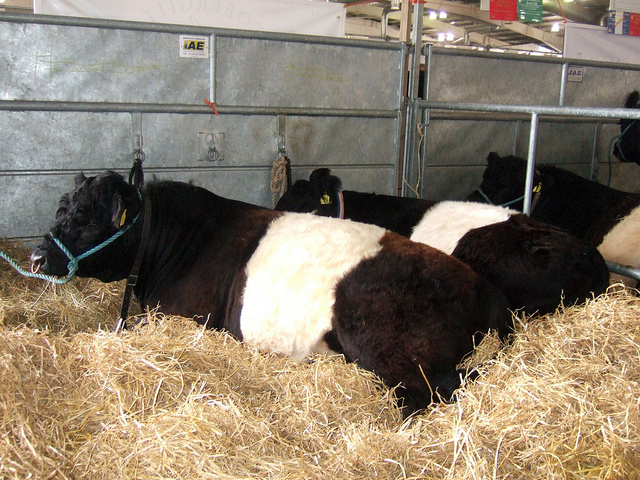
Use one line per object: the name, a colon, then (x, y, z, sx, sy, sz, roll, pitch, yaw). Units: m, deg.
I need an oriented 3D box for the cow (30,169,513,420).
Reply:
cow: (-0.339, 0.310, 2.826, 2.341, 1.049, 0.731, 8, -2, 13)

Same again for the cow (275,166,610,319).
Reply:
cow: (0.517, 0.125, 3.341, 1.600, 0.853, 0.487, 12, -5, -6)
